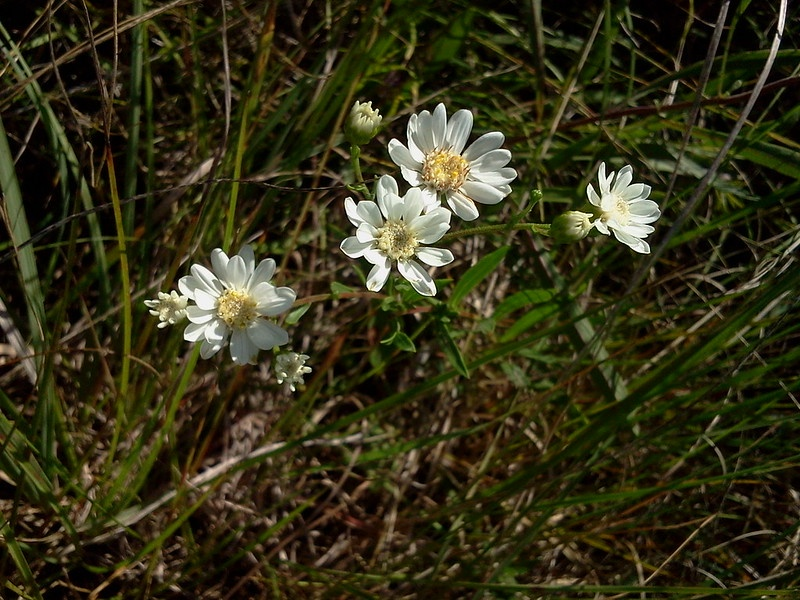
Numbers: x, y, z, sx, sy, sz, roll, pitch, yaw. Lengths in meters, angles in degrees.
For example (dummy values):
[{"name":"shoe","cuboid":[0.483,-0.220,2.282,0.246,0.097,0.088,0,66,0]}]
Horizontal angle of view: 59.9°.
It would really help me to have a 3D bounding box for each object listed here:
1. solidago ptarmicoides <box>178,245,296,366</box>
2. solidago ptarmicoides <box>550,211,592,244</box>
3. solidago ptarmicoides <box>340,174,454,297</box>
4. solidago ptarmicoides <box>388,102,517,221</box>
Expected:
[{"name":"solidago ptarmicoides","cuboid":[-0.776,-0.015,3.245,0.554,0.224,0.539,20,24,28]},{"name":"solidago ptarmicoides","cuboid":[0.847,-0.372,3.469,0.180,0.115,0.123,20,59,3]},{"name":"solidago ptarmicoides","cuboid":[-0.010,-0.315,3.321,0.530,0.310,0.500,4,60,-7]},{"name":"solidago ptarmicoides","cuboid":[0.277,-0.678,3.562,0.635,0.241,0.583,15,73,-26]}]
